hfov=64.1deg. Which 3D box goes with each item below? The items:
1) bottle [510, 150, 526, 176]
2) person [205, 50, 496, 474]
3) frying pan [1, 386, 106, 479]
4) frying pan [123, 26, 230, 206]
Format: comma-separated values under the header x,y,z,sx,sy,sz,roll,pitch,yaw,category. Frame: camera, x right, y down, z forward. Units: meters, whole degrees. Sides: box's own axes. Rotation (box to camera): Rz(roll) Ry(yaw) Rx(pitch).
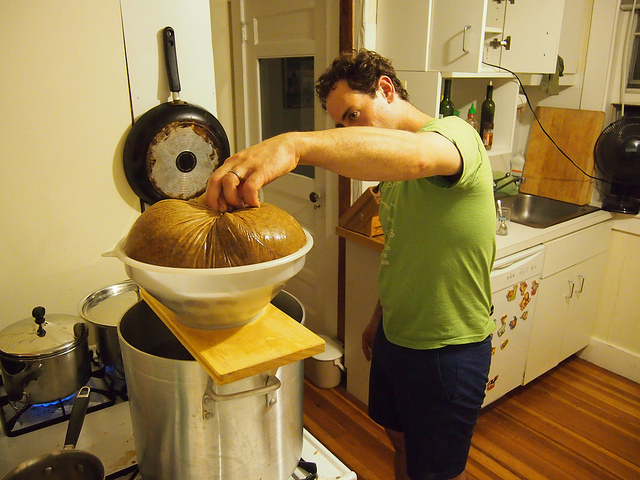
x,y,z,sx,sy,sz,roll,pitch,yaw,category
1.296,-0.494,3.327,0.118,0.147,0.058,-11,20,-25,bottle
0.191,-0.054,2.395,1.292,2.377,0.982,-4,10,-15,person
-0.637,0.503,1.250,0.222,0.147,0.179,-6,19,-11,frying pan
-0.482,-0.364,1.657,0.335,0.590,0.077,-13,21,-33,frying pan
